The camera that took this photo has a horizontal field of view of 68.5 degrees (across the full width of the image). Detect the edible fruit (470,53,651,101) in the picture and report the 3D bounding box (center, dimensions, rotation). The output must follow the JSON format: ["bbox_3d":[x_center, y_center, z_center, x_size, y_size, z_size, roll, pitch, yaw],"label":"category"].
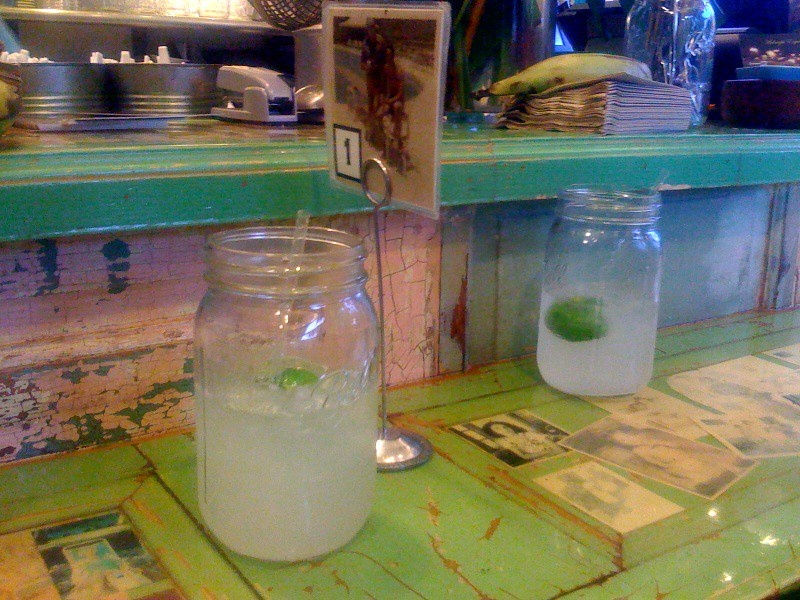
[{"bbox_3d":[0.335,-0.463,1.196,0.359,0.076,0.067,-13,11,-13],"label":"edible fruit"}]

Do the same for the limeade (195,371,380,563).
[{"bbox_3d":[-0.115,0.188,0.745,0.261,0.219,0.227,1,-6,-17],"label":"limeade"}]

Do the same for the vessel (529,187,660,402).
[{"bbox_3d":[0.367,-0.011,1.083,0.206,0.374,0.172,4,24,18],"label":"vessel"}]
